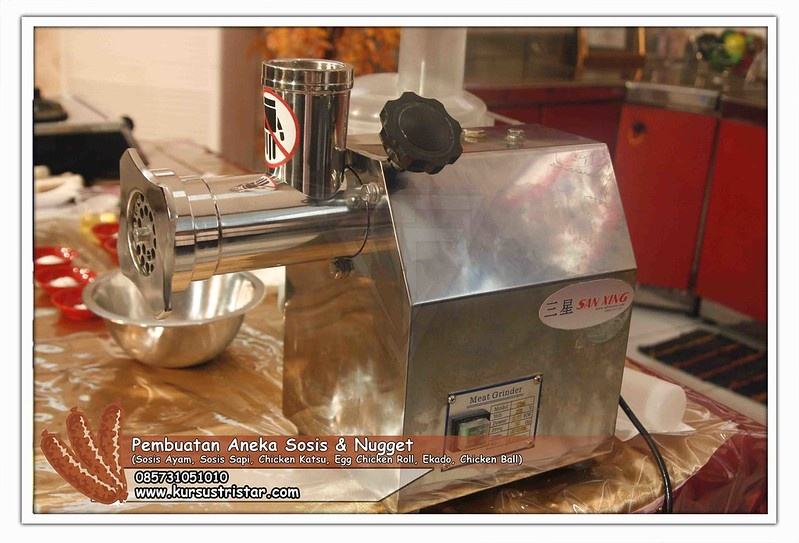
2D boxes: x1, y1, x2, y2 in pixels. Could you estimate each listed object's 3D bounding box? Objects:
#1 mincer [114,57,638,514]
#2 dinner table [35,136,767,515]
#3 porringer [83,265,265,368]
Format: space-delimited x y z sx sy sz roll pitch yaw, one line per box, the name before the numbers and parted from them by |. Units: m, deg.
mincer | -0.011 -0.072 1.386 1.030 0.846 0.569 -5 17 -24
dinner table | -0.157 0.057 1.284 1.149 0.788 0.849 -9 22 -30
porringer | -0.448 0.051 1.317 0.288 0.199 0.342 8 18 36
